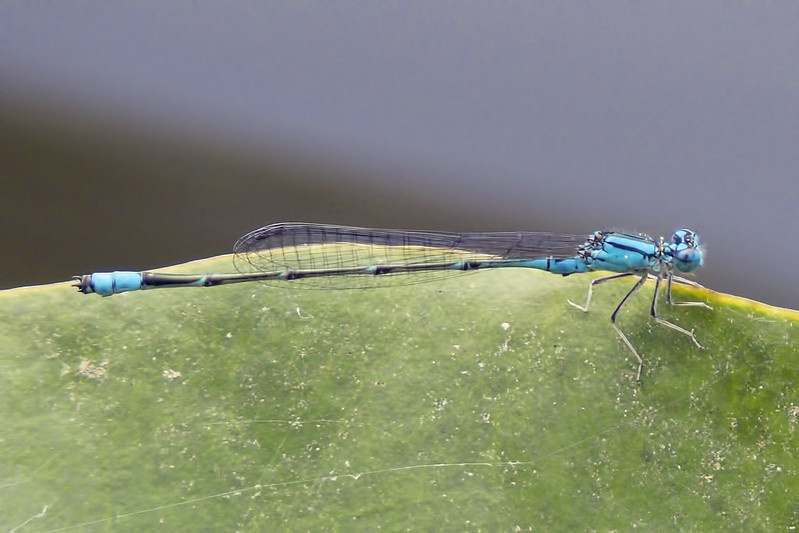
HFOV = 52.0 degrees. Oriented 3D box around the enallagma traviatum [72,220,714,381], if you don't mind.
[{"bbox_3d":[0.322,-0.093,9.729,6.452,1.834,1.362,11,17,2],"label":"enallagma traviatum"}]
